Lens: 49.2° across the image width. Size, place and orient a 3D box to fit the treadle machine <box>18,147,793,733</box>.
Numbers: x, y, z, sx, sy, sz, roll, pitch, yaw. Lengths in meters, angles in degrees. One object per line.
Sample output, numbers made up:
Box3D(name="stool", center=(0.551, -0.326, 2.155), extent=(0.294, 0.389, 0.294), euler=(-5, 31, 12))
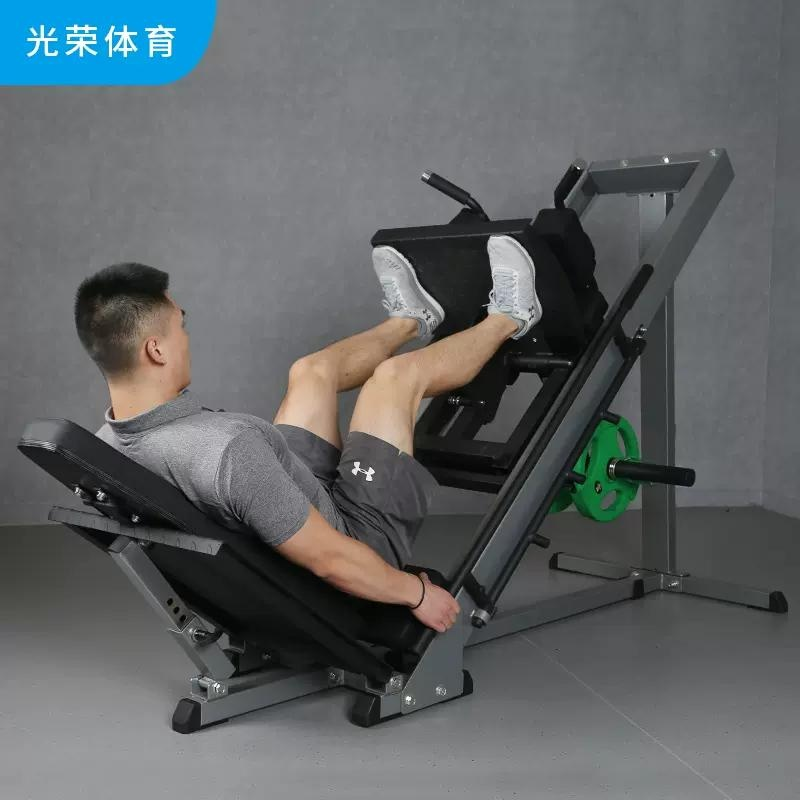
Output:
Box3D(name="treadle machine", center=(0.109, 0.118, 2.082), extent=(1.696, 0.957, 0.679), euler=(-4, -1, -39))

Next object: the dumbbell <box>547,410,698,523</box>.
Box3D(name="dumbbell", center=(0.536, 0.179, 2.218), extent=(0.323, 0.314, 0.303), euler=(-1, 13, -17))

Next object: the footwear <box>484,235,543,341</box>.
Box3D(name="footwear", center=(0.266, -0.274, 2.129), extent=(0.142, 0.215, 0.133), euler=(13, 20, 27))

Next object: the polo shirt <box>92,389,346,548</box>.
Box3D(name="polo shirt", center=(-0.348, 0.148, 1.679), extent=(0.540, 0.225, 0.621), euler=(6, -10, 26))
